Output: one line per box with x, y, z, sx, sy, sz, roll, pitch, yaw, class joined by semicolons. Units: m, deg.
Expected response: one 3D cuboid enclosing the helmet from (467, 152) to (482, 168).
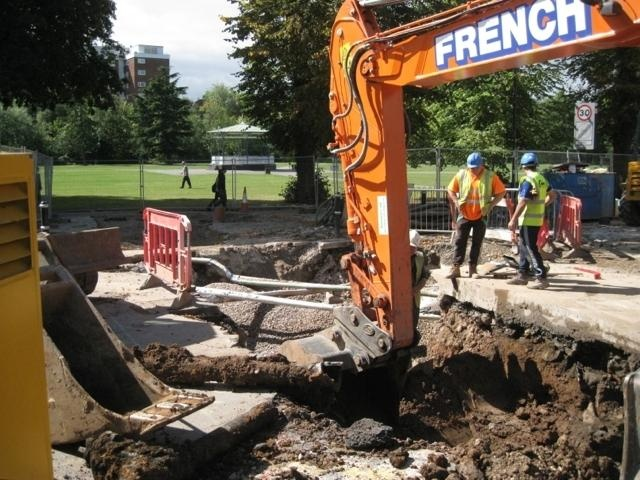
2.370;-1.208;10.560;0.188;0.186;0.281;5;9;27;helmet

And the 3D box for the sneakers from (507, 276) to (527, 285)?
2.957;0.587;10.405;0.278;0.149;0.115;4;3;20;sneakers
